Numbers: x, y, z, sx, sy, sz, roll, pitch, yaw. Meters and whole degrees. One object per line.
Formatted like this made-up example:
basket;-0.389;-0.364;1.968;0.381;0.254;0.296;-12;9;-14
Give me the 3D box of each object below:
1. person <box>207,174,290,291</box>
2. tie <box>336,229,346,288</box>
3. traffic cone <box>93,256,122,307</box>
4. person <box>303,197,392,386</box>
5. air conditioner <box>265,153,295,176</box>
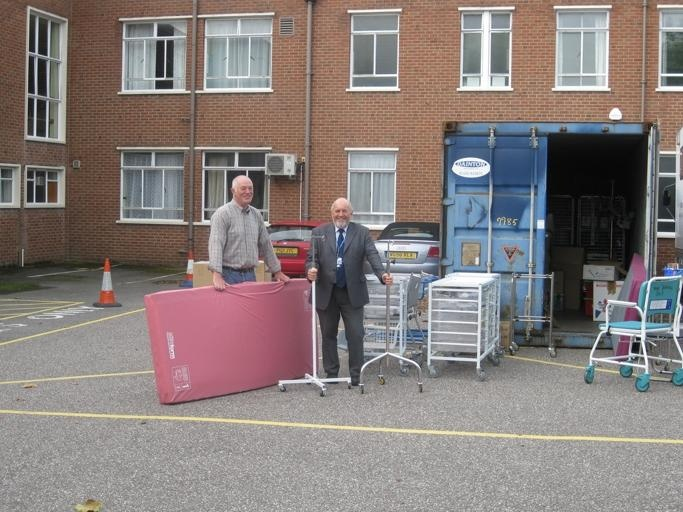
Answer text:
person;-1.244;-0.310;9.583;0.460;1.359;1.047;4;7;43
tie;-0.013;0.034;9.481;0.115;0.719;0.139;0;5;-1
traffic cone;-5.659;0.646;18.561;0.811;1.399;0.837;1;-3;-15
person;0.036;0.462;9.496;0.946;2.310;0.472;-1;5;-3
air conditioner;-1.852;-2.746;23.023;0.937;0.776;0.601;0;-2;6
